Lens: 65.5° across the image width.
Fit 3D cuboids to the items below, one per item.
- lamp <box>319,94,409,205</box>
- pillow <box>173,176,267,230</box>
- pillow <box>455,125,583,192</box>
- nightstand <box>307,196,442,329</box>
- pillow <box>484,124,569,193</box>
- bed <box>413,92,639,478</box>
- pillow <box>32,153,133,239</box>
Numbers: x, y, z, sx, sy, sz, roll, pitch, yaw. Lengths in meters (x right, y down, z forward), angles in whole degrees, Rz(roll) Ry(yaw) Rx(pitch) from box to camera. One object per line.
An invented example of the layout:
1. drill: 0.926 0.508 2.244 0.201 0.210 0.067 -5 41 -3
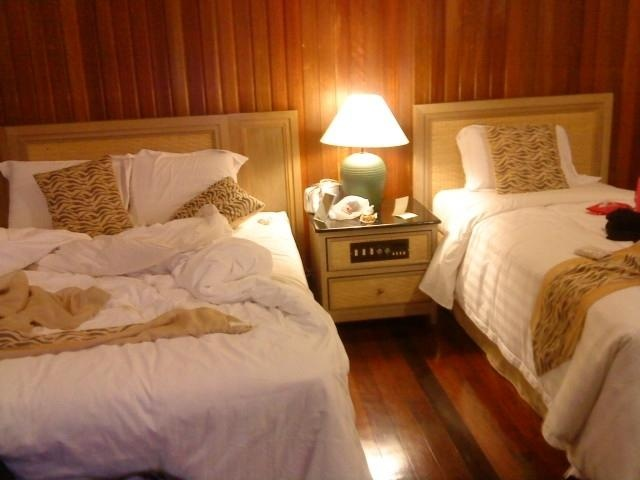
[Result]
1. lamp: 0.286 -0.694 3.469 0.662 0.796 0.667 -11 22 -26
2. pillow: -0.573 -0.225 2.966 0.331 0.108 0.369 30 47 23
3. pillow: 1.267 -0.539 3.344 0.674 0.497 0.179 -5 -13 4
4. nightstand: 0.273 0.125 3.323 0.891 0.818 0.647 -5 24 -8
5. pillow: 1.344 -0.542 3.231 0.504 0.443 0.115 -5 -13 -13
6. bed: 1.448 -0.057 4.013 1.411 1.916 1.278 -6 5 -1
7. pillow: -1.330 -0.238 2.791 0.412 0.342 0.457 -14 25 -27
